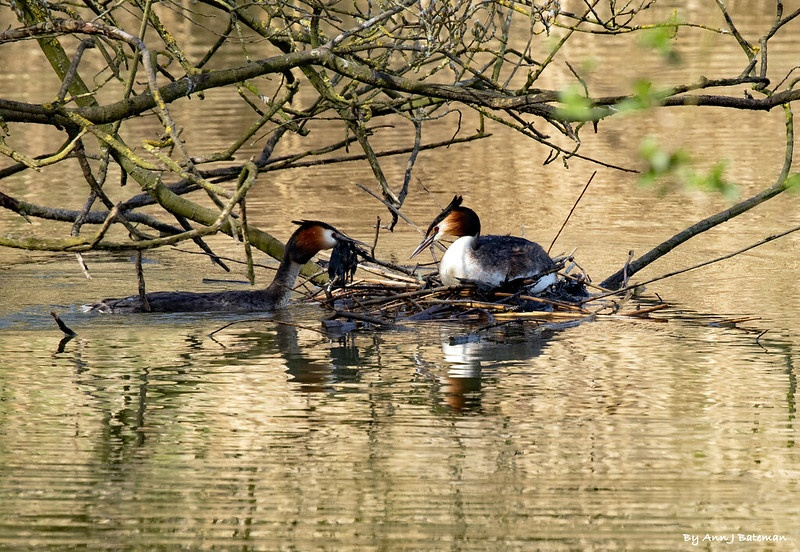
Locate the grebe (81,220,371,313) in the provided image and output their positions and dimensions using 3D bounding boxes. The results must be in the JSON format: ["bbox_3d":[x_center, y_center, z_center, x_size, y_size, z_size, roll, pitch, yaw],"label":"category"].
[{"bbox_3d":[-1.918,0.112,12.409,3.365,0.881,0.698,-6,7,12],"label":"grebe"}]
